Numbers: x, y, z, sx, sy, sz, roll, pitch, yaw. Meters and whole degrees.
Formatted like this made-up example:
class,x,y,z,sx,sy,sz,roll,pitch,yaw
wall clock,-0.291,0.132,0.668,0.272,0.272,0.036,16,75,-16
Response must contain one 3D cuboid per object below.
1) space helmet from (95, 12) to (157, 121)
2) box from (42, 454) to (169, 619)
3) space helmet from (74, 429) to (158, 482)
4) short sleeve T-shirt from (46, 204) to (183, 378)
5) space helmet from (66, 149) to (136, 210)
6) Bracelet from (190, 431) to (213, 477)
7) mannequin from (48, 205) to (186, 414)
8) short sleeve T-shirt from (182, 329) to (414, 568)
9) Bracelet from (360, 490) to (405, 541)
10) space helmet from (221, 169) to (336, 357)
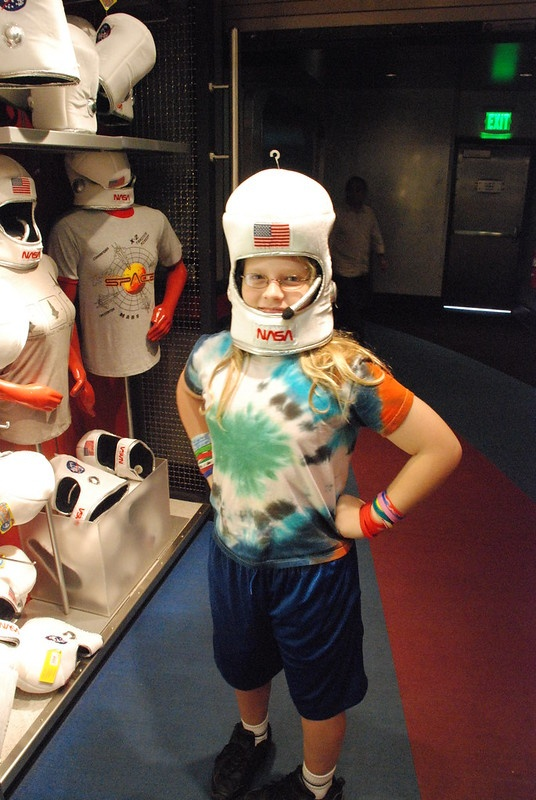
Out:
class,x,y,z,sx,sy,sz,roll,pitch,yaw
space helmet,-0.464,-1.096,1.844,0.186,0.310,0.245,-4,28,-11
box,-0.617,0.447,2.146,0.271,0.573,0.509,9,28,13
space helmet,-0.583,0.212,2.170,0.288,0.132,0.153,22,65,-11
short sleeve T-shirt,-0.587,-0.426,2.099,0.231,0.624,0.543,30,39,25
space helmet,-0.562,-0.784,2.003,0.213,0.211,0.185,8,45,1
Bracelet,-0.132,0.118,1.198,0.028,0.085,0.062,3,-5,-41
mannequin,-0.577,-0.381,2.132,0.274,0.705,0.650,34,41,27
short sleeve T-shirt,0.053,0.118,0.998,0.356,0.402,0.141,10,28,14
Bracelet,0.215,0.218,1.019,0.079,0.085,0.064,-15,9,-10
space helmet,0.024,-0.226,0.943,0.196,0.292,0.212,2,28,0
